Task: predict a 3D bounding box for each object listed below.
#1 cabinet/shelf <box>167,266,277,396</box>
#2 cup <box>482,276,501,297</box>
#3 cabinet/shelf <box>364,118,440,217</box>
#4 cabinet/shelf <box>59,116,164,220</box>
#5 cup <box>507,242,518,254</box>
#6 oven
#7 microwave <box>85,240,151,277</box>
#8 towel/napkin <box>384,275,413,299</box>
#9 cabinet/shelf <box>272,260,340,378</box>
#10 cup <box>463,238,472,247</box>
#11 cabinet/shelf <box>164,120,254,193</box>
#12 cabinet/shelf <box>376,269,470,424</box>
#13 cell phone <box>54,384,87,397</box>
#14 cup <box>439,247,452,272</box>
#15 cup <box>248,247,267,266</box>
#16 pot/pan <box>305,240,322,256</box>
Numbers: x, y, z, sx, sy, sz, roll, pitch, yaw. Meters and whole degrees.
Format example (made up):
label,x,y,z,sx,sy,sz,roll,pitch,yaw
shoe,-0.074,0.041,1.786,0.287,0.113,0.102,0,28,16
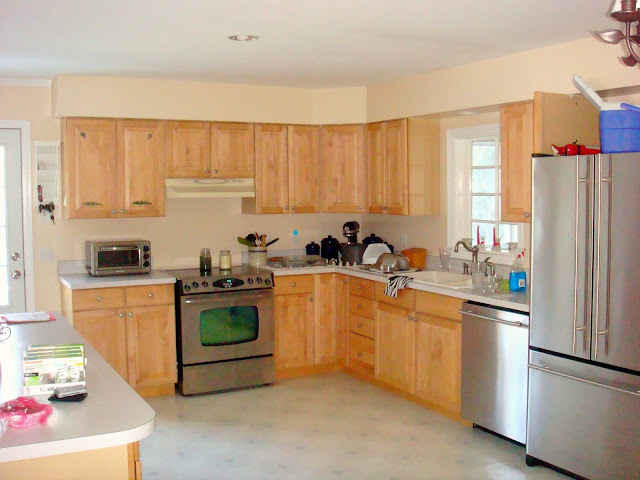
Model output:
label,x,y,z,sx,sy,sz,roll,pitch,yaw
cabinet/shelf,-1.052,0.921,5.252,1.006,1.146,0.836,-1,-2,-28
cup,1.385,0.387,4.168,0.164,0.136,0.126,0,2,-13
cabinet/shelf,0.847,-0.759,5.338,0.797,0.973,0.409,0,9,15
cabinet/shelf,-1.944,-0.684,5.179,1.068,0.963,0.497,0,3,4
cup,1.704,0.063,4.553,0.074,0.096,0.133,1,9,20
oven,-1.059,0.922,5.255,1.057,1.101,0.838,-1,-3,-24
microwave,-1.866,0.200,5.045,0.603,0.325,0.406,-2,-7,1
towel/napkin,0.689,0.415,4.622,0.217,0.199,0.077,7,-12,30
cabinet/shelf,0.006,0.902,5.706,0.847,1.011,0.740,-9,-13,31
cup,1.383,0.028,4.776,0.071,0.073,0.073,-1,2,0
cabinet/shelf,-1.143,-0.863,5.462,0.883,0.693,0.566,-1,-11,-9
cabinet/shelf,1.047,0.929,4.705,0.459,1.035,1.157,-1,2,-28
cell phone,-1.074,0.648,2.223,0.069,0.015,0.068,-3,6,-32
cup,1.247,0.185,5.102,0.097,0.219,0.161,2,9,26
cup,-0.679,0.173,5.567,0.197,0.193,0.173,-3,8,-8
pot/pan,-0.083,0.089,5.986,0.158,0.245,0.148,-4,9,-25
